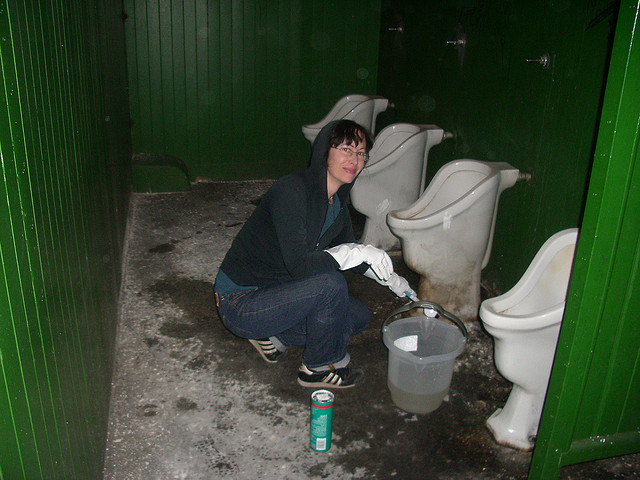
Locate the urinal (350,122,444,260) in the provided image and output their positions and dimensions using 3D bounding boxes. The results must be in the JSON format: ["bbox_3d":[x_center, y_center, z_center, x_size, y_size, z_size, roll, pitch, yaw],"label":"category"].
[{"bbox_3d":[0.533,-0.479,4.106,0.660,1.059,0.840,2,21,-4],"label":"urinal"}]

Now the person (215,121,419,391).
[{"bbox_3d":[-0.065,0.101,2.430,0.893,1.282,0.452,-7,24,-13],"label":"person"}]

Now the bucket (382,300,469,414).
[{"bbox_3d":[0.484,0.527,2.397,0.372,0.570,0.381,-1,23,0],"label":"bucket"}]

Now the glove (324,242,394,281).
[{"bbox_3d":[0.194,0.121,2.450,0.271,0.110,0.167,6,47,-23],"label":"glove"}]

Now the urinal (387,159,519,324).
[{"bbox_3d":[0.810,0.015,3.118,0.758,0.934,0.516,-6,19,-12],"label":"urinal"}]

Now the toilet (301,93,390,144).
[{"bbox_3d":[0.270,-1.074,4.823,0.809,0.595,0.543,-6,20,-6],"label":"toilet"}]

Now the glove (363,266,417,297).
[{"bbox_3d":[0.358,0.210,2.517,0.232,0.159,0.241,-5,20,-31],"label":"glove"}]
